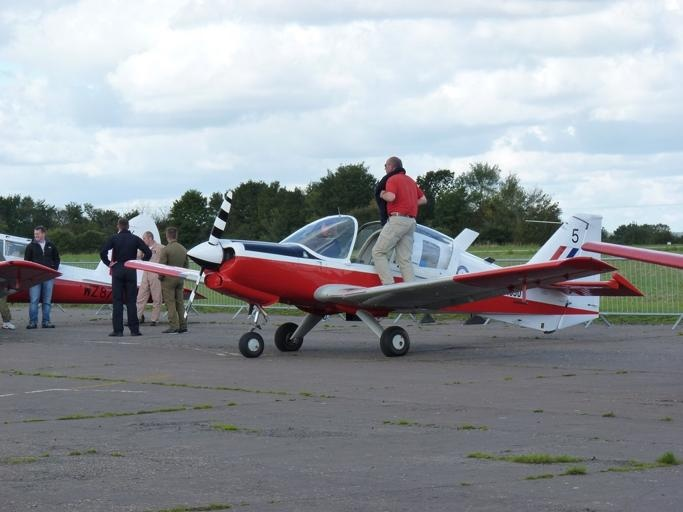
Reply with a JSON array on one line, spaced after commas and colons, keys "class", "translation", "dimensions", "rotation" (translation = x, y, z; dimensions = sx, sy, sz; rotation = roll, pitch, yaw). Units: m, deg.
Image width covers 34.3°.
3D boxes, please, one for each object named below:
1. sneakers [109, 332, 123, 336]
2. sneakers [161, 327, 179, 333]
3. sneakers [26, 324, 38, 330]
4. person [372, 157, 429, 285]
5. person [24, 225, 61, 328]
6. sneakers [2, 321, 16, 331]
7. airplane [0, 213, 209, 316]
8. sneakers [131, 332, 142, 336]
[{"class": "sneakers", "translation": [-3.294, 1.129, 16.100], "dimensions": [0.161, 0.065, 0.071], "rotation": [5, 6, 25]}, {"class": "sneakers", "translation": [-2.662, 1.141, 17.000], "dimensions": [0.306, 0.098, 0.098], "rotation": [1, 0, 8]}, {"class": "sneakers", "translation": [-4.934, 1.130, 17.631], "dimensions": [0.146, 0.079, 0.071], "rotation": [4, -2, 4]}, {"class": "person", "translation": [0.681, -0.418, 13.438], "dimensions": [0.612, 1.525, 0.694], "rotation": [0, 6, 4]}, {"class": "person", "translation": [-4.876, 0.340, 18.016], "dimensions": [0.610, 1.605, 0.504], "rotation": [2, -5, -40]}, {"class": "sneakers", "translation": [-5.288, 1.112, 17.561], "dimensions": [0.115, 0.118, 0.307], "rotation": [3, -2, -44]}, {"class": "airplane", "translation": [-5.771, 0.108, 26.380], "dimensions": [3.903, 1.059, 2.790], "rotation": [11, -3, 41]}, {"class": "sneakers", "translation": [-3.026, 1.155, 16.376], "dimensions": [0.062, 0.048, 0.152], "rotation": [-30, -21, 37]}]
